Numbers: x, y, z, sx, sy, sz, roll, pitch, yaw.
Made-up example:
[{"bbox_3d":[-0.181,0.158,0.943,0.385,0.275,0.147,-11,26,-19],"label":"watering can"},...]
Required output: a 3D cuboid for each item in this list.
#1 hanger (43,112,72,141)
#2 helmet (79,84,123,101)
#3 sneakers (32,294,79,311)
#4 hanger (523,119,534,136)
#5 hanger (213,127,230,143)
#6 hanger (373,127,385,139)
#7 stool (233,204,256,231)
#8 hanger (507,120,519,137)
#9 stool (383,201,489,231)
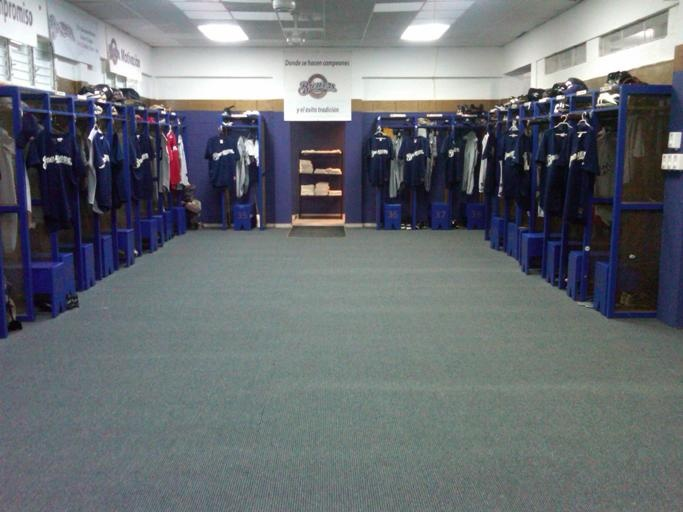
[{"bbox_3d":[-3.422,-1.559,6.298,0.415,0.251,0.634,-2,5,-37],"label":"hanger"},{"bbox_3d":[-3.467,-2.338,7.521,0.503,0.237,0.643,-1,12,-16],"label":"helmet"},{"bbox_3d":[-3.038,0.498,5.567,0.433,0.200,0.150,-3,10,-20],"label":"sneakers"},{"bbox_3d":[2.805,-1.898,7.811,0.119,0.208,0.586,4,12,19],"label":"hanger"},{"bbox_3d":[-2.595,-2.585,11.291,0.306,0.337,0.736,-2,12,-12],"label":"hanger"},{"bbox_3d":[0.827,-2.628,11.289,0.253,0.254,0.240,-1,12,-6],"label":"hanger"},{"bbox_3d":[-2.116,-0.884,11.563,0.425,0.635,0.827,-1,9,0],"label":"stool"},{"bbox_3d":[2.600,-1.912,7.870,0.160,0.262,0.579,3,12,17],"label":"hanger"},{"bbox_3d":[2.061,-0.908,11.654,2.137,0.548,0.713,1,12,4],"label":"stool"}]
